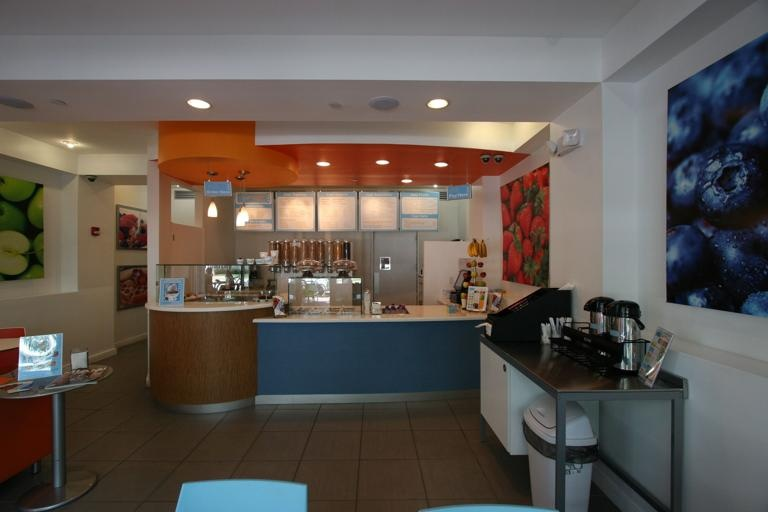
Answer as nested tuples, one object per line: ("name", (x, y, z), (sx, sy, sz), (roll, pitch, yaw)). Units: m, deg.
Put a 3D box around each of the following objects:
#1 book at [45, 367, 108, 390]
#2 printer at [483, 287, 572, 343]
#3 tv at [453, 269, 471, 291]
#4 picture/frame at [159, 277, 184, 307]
("book", (-2.726, 1.073, 4.735), (0.495, 0.107, 0.379), (-1, 0, -36))
("printer", (1.426, 0.583, 5.218), (0.707, 0.460, 0.487), (1, -3, 4))
("tv", (1.111, 0.340, 7.512), (0.146, 0.251, 0.273), (14, -6, -3))
("picture/frame", (-2.511, 0.437, 6.255), (0.344, 0.368, 0.029), (0, -17, -6))
